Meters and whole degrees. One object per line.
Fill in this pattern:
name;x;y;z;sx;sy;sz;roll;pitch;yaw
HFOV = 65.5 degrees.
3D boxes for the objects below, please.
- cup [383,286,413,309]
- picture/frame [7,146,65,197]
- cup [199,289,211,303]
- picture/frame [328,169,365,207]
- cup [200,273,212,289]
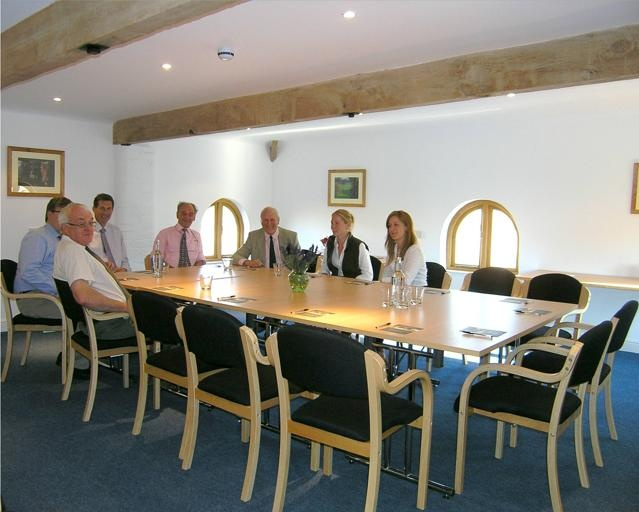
cup;0.547;0.293;3.480;0.167;0.121;0.165;-1;-4;0
picture/frame;-3.642;-1.076;6.299;0.046;0.614;0.642;10;13;43
cup;-0.833;0.293;3.619;0.097;0.108;0.097;1;-3;0
picture/frame;0.454;-1.086;7.925;0.598;0.537;0.045;3;4;36
cup;-0.884;0.199;3.879;0.113;0.126;0.117;1;-2;0
